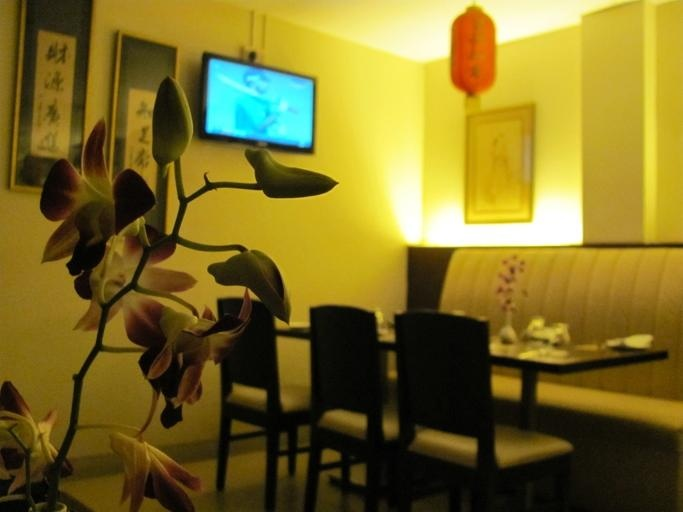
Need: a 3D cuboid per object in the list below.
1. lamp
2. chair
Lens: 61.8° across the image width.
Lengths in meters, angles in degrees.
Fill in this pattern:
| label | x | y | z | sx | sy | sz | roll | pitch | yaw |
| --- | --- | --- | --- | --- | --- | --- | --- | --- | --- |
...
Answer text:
| label | x | y | z | sx | sy | sz | roll | pitch | yaw |
| --- | --- | --- | --- | --- | --- | --- | --- | --- | --- |
| lamp | 0.630 | -0.989 | 2.721 | 0.211 | 0.430 | 0.102 | 3 | 3 | 9 |
| chair | 0.198 | 0.694 | 2.462 | 0.402 | 0.734 | 1.127 | 2 | -3 | -42 |
